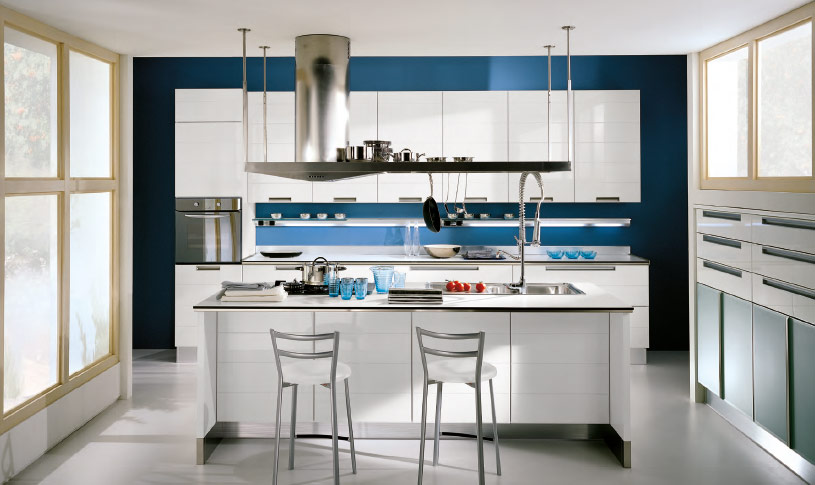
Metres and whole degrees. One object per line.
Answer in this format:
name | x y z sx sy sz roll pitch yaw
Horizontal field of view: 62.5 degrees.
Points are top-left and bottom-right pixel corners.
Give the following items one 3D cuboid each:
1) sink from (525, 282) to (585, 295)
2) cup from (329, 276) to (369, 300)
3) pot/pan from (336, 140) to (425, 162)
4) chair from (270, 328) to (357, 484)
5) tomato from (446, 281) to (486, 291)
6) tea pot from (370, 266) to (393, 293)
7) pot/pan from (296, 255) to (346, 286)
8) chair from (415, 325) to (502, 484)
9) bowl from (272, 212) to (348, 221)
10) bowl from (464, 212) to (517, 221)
sink | 1.526 0.490 6.798 0.364 0.093 0.666 -6 6 -41
cup | -0.569 0.449 6.410 0.306 0.122 0.210 -1 0 0
pot/pan | -0.296 -0.861 6.424 0.758 0.215 0.443 -2 5 -7
chair | -0.870 1.410 6.054 0.757 1.386 0.810 -3 5 -6
tomato | 0.573 0.439 6.716 0.395 0.110 0.218 -1 5 7
tea pot | -0.261 0.375 6.581 0.245 0.252 0.169 3 7 44
pot/pan | -0.871 0.310 6.724 0.510 0.245 0.276 0 -4 0
chair | 0.452 1.402 6.047 0.739 1.388 0.760 -1 5 7
bowl | -1.211 -0.343 8.808 0.735 0.107 0.056 0 5 4
bowl | 0.988 -0.340 8.748 0.577 0.089 0.054 -2 12 -6
